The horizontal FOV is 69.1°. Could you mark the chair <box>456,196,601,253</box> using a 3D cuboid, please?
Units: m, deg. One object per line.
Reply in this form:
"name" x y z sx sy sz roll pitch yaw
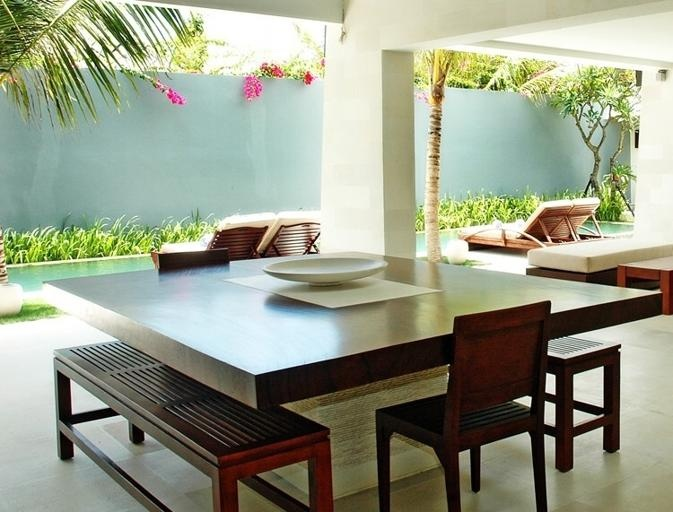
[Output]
"chair" 3.385 -0.538 8.743 1.373 0.817 1.711 -7 12 -39
